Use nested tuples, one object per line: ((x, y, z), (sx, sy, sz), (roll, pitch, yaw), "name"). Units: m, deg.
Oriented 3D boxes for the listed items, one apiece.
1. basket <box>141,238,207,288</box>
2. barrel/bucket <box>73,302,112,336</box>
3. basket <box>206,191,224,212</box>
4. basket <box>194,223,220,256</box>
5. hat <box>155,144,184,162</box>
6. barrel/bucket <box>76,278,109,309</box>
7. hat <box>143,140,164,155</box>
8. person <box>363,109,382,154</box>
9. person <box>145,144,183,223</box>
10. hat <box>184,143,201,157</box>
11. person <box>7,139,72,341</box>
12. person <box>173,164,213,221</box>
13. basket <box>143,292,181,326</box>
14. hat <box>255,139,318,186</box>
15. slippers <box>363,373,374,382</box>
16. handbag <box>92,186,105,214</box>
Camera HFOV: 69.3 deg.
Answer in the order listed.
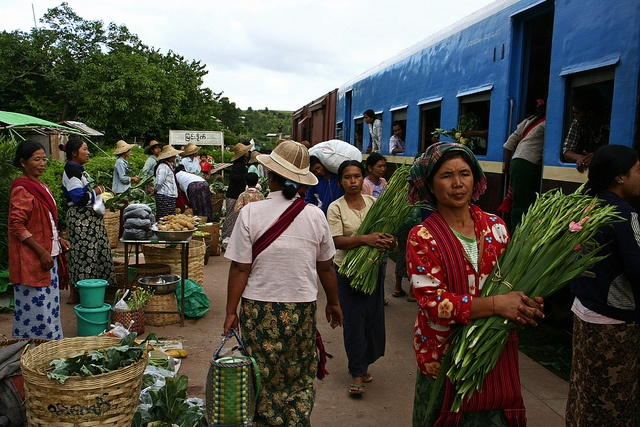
((-2.058, 0.694, 6.713), (0.696, 0.516, 0.782), (0, -3, -8), "basket")
((-2.628, 1.219, 5.404), (0.395, 0.301, 0.359), (3, 0, 0), "barrel/bucket")
((-3.048, -0.310, 13.491), (0.497, 0.484, 0.486), (-2, 10, -12), "basket")
((-2.349, 0.564, 9.363), (0.516, 0.670, 0.483), (-2, -5, -8), "basket")
((-2.964, -1.201, 9.206), (0.433, 0.162, 0.456), (-16, 10, -1), "hat")
((-2.710, 0.955, 5.535), (0.372, 0.265, 0.342), (1, 2, 0), "barrel/bucket")
((-3.771, -1.545, 10.396), (0.411, 0.135, 0.449), (-13, -16, -43), "hat")
((1.196, -1.806, 10.268), (0.405, 0.857, 0.413), (-7, 8, -7), "person")
((-2.952, -0.560, 8.933), (0.418, 1.469, 0.770), (-2, 11, -18), "person")
((-3.427, -1.700, 12.351), (0.314, 0.331, 0.812), (-1, 10, -16), "hat")
((-2.869, 0.332, 4.684), (0.502, 2.104, 0.860), (-4, 12, -28), "person")
((-2.895, -0.510, 9.957), (1.158, 1.112, 0.389), (4, 17, 36), "person")
((-2.068, 1.280, 6.177), (0.454, 0.402, 0.449), (-1, -10, 19), "basket")
((-0.249, -0.391, 3.525), (0.371, 0.184, 0.390), (25, 24, 17), "hat")
((0.477, 1.669, 4.695), (0.105, 0.031, 0.103), (0, 2, -2), "slippers")
((-2.859, -0.166, 6.017), (0.127, 0.385, 0.209), (-1, 11, -13), "handbag")
